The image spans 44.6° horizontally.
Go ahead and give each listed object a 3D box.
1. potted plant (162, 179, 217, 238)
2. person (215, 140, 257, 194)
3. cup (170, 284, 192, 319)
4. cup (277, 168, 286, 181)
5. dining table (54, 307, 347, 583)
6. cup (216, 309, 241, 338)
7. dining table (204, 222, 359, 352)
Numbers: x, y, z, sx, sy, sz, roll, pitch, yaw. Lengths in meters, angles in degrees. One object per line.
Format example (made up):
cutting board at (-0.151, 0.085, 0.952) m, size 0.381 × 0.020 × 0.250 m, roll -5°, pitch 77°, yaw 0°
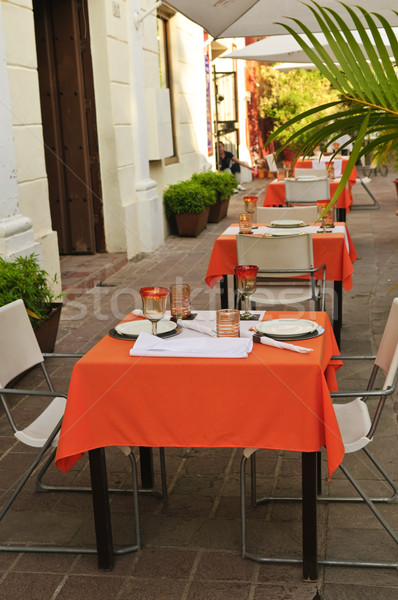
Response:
potted plant at (-0.220, -1.432, 7.673) m, size 1.118 × 1.035 × 0.729 m, roll -4°, pitch 8°, yaw -12°
person at (0.829, -3.279, 12.075) m, size 0.830 × 1.478 × 0.639 m, roll 0°, pitch 26°, yaw 47°
cup at (-0.060, 0.008, 1.744) m, size 0.107 × 0.160 × 0.105 m, roll 0°, pitch 6°, yaw 0°
cup at (1.086, -1.657, 6.397) m, size 0.125 × 0.180 × 0.127 m, roll -1°, pitch 15°, yaw 0°
dining table at (0.007, 0.241, 1.354) m, size 0.666 × 0.491 × 0.671 m, roll 0°, pitch 5°, yaw 6°
cup at (0.083, 0.068, 1.417) m, size 0.075 × 0.085 × 0.075 m, roll 0°, pitch 2°, yaw 0°
dining table at (0.612, -0.236, 3.657) m, size 1.222 × 0.874 × 0.883 m, roll 1°, pitch 12°, yaw 12°
